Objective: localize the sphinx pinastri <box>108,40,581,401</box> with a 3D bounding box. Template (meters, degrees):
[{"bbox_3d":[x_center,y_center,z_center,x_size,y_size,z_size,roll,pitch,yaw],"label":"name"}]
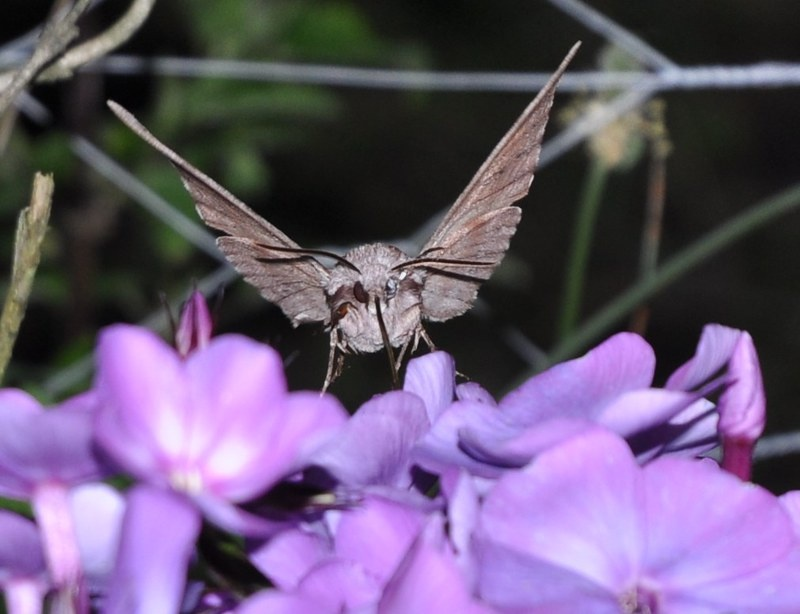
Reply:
[{"bbox_3d":[-0.033,-0.042,0.820,0.329,0.248,0.235,-6,0,-2],"label":"sphinx pinastri"}]
